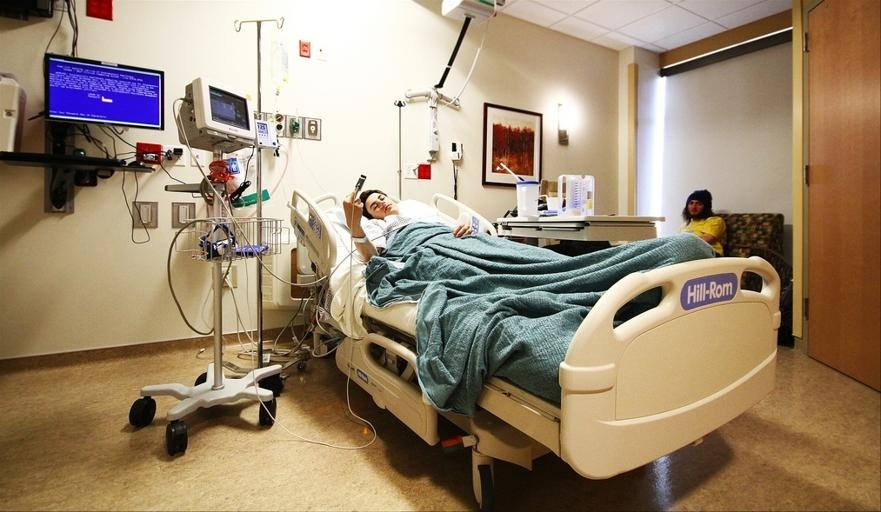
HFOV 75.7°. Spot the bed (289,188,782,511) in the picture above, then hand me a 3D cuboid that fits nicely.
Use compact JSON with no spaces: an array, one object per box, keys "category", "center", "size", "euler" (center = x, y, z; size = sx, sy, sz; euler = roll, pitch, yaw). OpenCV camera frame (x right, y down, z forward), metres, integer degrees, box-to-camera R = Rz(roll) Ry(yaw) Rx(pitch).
[{"category":"bed","center":[0.331,0.580,3.992],"size":[1.705,1.316,2.674],"euler":[-5,8,-37]}]

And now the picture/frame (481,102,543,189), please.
[{"category":"picture/frame","center":[0.784,-1.186,6.135],"size":[0.785,0.875,0.169],"euler":[-3,10,-34]}]

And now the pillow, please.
[{"category":"pillow","center":[-0.538,-0.264,4.230],"size":[0.530,0.242,0.762],"euler":[-15,28,-34]}]

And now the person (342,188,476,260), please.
[{"category":"person","center":[-0.465,-0.286,4.640],"size":[0.600,0.370,0.918],"euler":[-12,25,-29]}]

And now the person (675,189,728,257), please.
[{"category":"person","center":[2.664,-0.355,5.948],"size":[0.605,0.671,0.571],"euler":[3,9,3]}]

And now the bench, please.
[{"category":"bench","center":[2.690,-0.037,4.922],"size":[0.792,0.736,0.457],"euler":[-3,-8,44]}]
